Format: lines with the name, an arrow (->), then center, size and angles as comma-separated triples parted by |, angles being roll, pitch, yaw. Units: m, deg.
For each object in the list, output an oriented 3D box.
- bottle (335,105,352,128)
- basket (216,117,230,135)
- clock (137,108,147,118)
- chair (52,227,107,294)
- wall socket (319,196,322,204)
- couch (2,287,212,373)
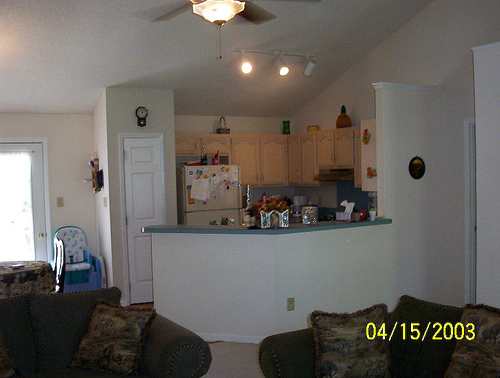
bottle -> 1.455, -1.108, 6.395 | 0.232, 0.257, 0.199 | -2, 1, 15
basket -> -0.449, -1.067, 7.005 | 0.233, 0.274, 0.393 | -3, 1, -3
clock -> -1.473, -1.041, 5.666 | 0.130, 0.122, 0.017 | -3, 1, -14
chair -> -2.546, 1.095, 6.073 | 0.737, 0.946, 0.720 | -1, 4, -24
wall socket -> 1.226, 0.187, 7.216 | 0.023, 0.127, 0.081 | 2, -1, -16
couch -> -1.125, 1.096, 3.142 | 1.520, 0.648, 0.528 | -2, 1, 12
